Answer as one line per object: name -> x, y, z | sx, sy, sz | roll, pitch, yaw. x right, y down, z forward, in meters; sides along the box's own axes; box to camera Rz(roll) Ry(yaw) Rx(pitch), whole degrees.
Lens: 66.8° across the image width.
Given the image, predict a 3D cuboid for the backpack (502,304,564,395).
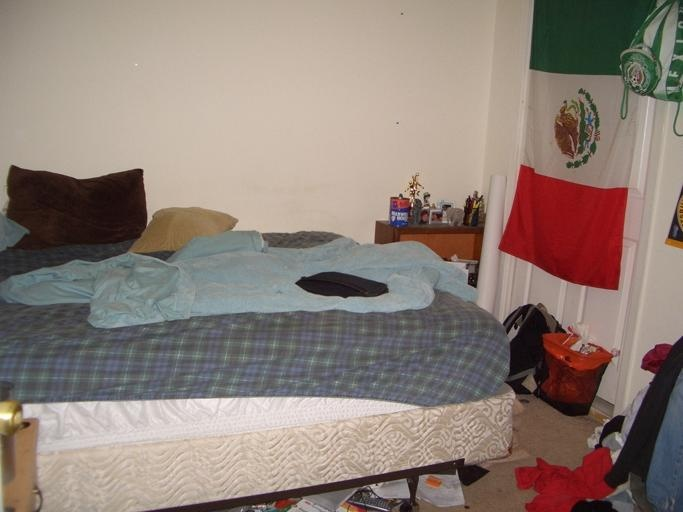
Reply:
backpack -> 1.165, 0.591, 3.136 | 0.284, 0.487, 0.361 | 21, -17, 8
